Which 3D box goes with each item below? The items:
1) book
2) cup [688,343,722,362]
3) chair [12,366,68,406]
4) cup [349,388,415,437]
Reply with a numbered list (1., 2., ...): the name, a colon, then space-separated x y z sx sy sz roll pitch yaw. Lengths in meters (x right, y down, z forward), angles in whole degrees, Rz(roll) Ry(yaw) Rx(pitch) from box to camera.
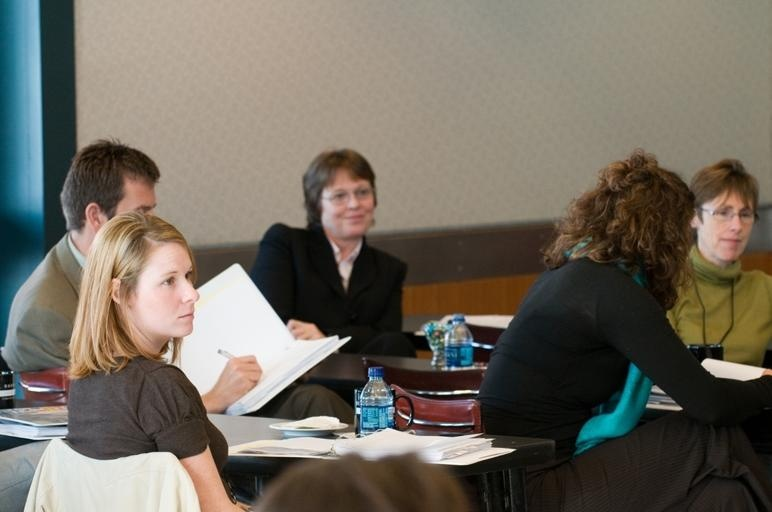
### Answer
1. book: -0.577 0.395 2.857 0.538 0.576 0.209 -34 -18 -29
2. cup: 1.154 0.371 2.567 0.113 0.084 0.114 -2 3 0
3. chair: -1.258 0.474 2.591 0.132 0.115 0.305 -1 0 -35
4. cup: -0.012 0.475 2.114 0.174 0.165 0.103 1 -4 0
